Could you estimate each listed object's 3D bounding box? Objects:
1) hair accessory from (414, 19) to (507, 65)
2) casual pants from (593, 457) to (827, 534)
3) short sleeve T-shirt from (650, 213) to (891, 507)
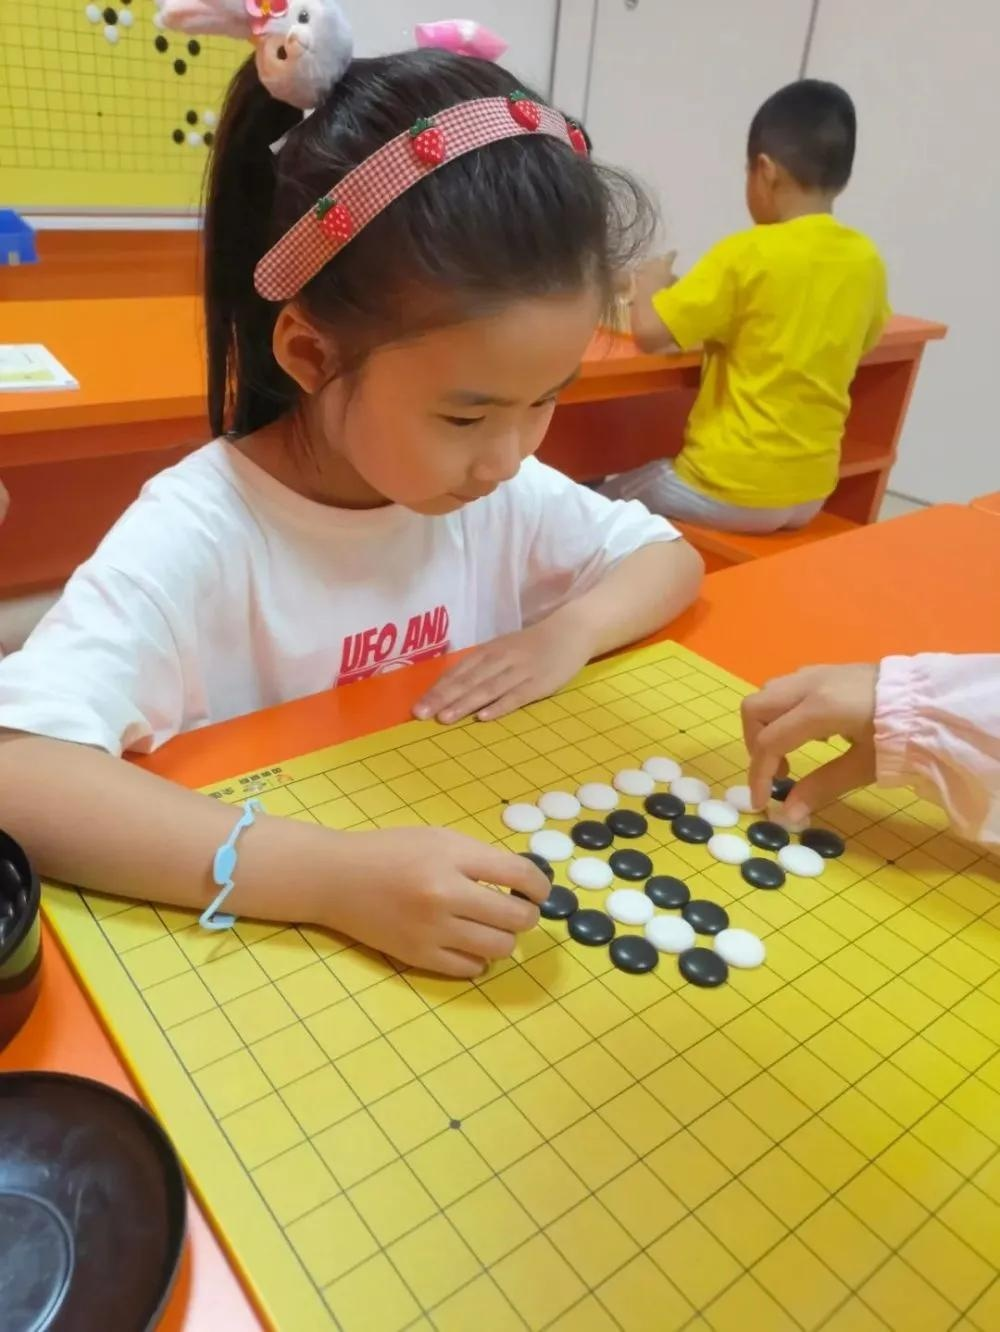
[{"bbox_3d":[-0.030,-0.469,0.797,0.056,0.032,0.055,7,12,5],"label":"hair accessory"},{"bbox_3d":[0.418,-0.333,2.230,0.438,0.123,0.246,19,19,41],"label":"casual pants"},{"bbox_3d":[0.532,-0.612,2.110,0.573,0.491,0.301,-4,22,-25],"label":"short sleeve T-shirt"}]
